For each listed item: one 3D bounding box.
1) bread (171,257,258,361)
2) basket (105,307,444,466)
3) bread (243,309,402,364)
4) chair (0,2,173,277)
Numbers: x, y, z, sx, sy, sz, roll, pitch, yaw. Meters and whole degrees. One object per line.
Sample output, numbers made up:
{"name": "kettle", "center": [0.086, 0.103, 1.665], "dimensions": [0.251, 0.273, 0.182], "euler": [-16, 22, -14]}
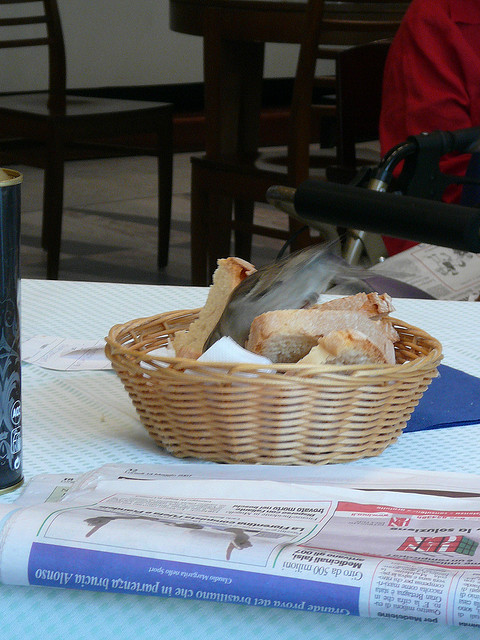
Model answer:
{"name": "bread", "center": [-0.008, -0.003, 0.500], "dimensions": [0.026, 0.079, 0.055], "euler": [31, -25, -14]}
{"name": "basket", "center": [0.008, 0.055, 0.402], "dimensions": [0.217, 0.074, 0.099], "euler": [4, 6, 14]}
{"name": "bread", "center": [0.071, 0.009, 0.417], "dimensions": [0.058, 0.040, 0.018], "euler": [-9, 57, -21]}
{"name": "chair", "center": [-0.458, -0.527, 1.925], "dimensions": [0.525, 0.796, 0.281], "euler": [3, 7, -8]}
